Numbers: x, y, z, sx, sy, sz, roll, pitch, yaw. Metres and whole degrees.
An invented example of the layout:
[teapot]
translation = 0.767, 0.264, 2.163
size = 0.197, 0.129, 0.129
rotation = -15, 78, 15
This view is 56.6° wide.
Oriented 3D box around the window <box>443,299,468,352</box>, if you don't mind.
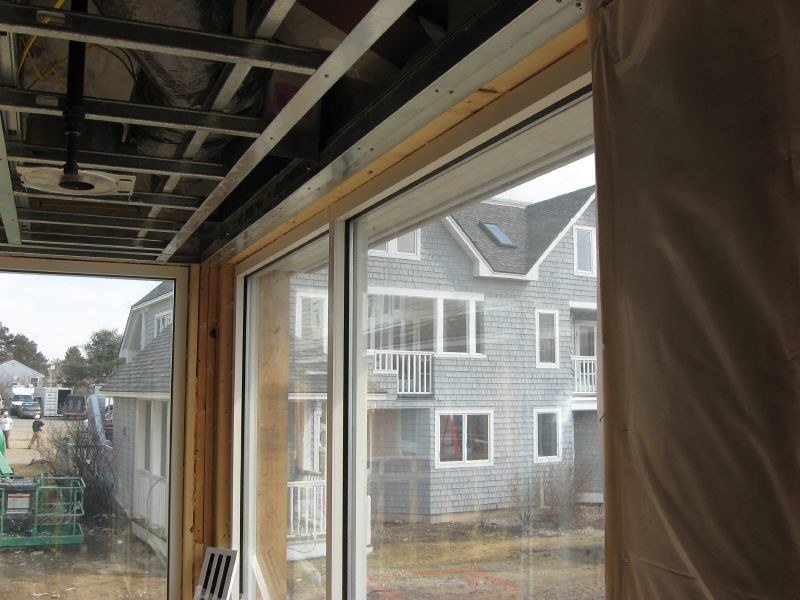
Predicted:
[window]
translation = 0.192, 0.087, 2.525
size = 0.015, 0.190, 0.138
rotation = 7, -14, -23
